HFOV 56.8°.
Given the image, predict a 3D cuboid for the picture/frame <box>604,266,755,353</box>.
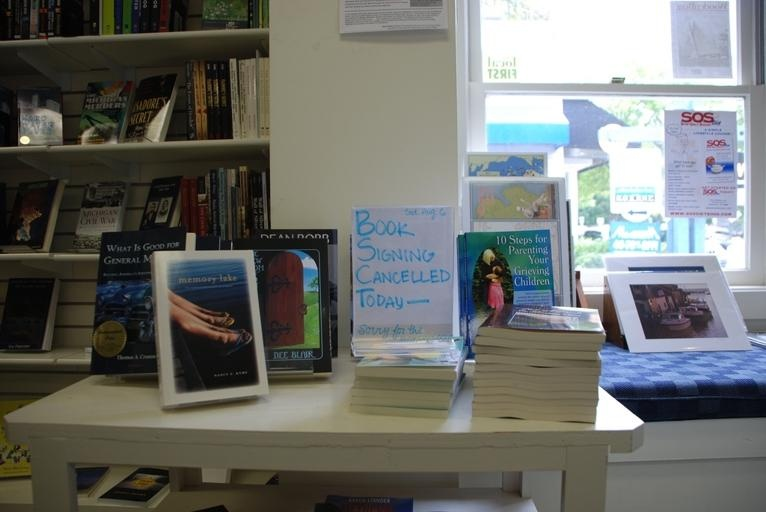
[{"bbox_3d":[1.463,0.275,3.578,0.475,0.341,0.018,0,-31,-1],"label":"picture/frame"}]
